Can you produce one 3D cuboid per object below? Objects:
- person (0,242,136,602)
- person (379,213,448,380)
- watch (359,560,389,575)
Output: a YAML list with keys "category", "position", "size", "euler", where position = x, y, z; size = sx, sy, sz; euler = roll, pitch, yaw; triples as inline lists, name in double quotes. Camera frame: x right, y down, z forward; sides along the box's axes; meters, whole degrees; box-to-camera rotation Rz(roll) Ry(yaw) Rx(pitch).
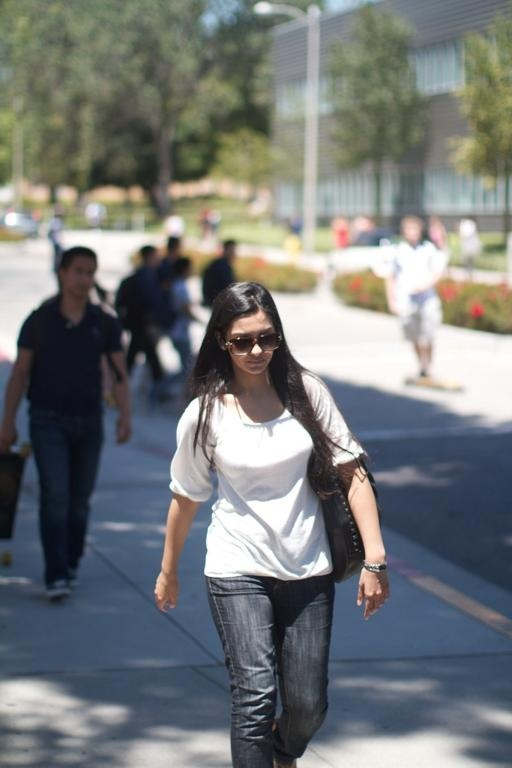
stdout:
- category: "person"
  position: [-0.894, 0.165, 4.598]
  size: [0.426, 1.625, 0.636]
  euler: [4, 8, 17]
- category: "person"
  position: [1.138, -0.680, 6.883]
  size: [0.378, 1.011, 0.946]
  euler: [2, 7, 7]
- category: "watch"
  position: [0.291, 0.456, 2.396]
  size: [0.058, 0.032, 0.041]
  euler: [3, 7, 14]
